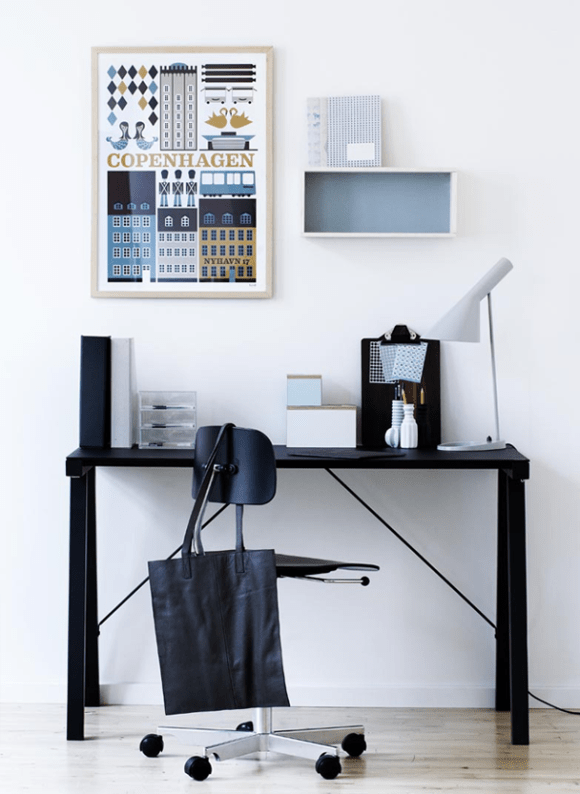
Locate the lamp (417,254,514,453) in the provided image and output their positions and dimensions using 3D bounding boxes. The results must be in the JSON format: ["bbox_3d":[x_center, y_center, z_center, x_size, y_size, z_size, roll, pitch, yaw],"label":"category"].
[{"bbox_3d":[0.540,-0.130,3.045,0.235,0.565,0.353,2,6,14],"label":"lamp"}]

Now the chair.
[{"bbox_3d":[-0.103,0.541,2.745,0.474,0.873,0.499,5,-7,-41],"label":"chair"}]
